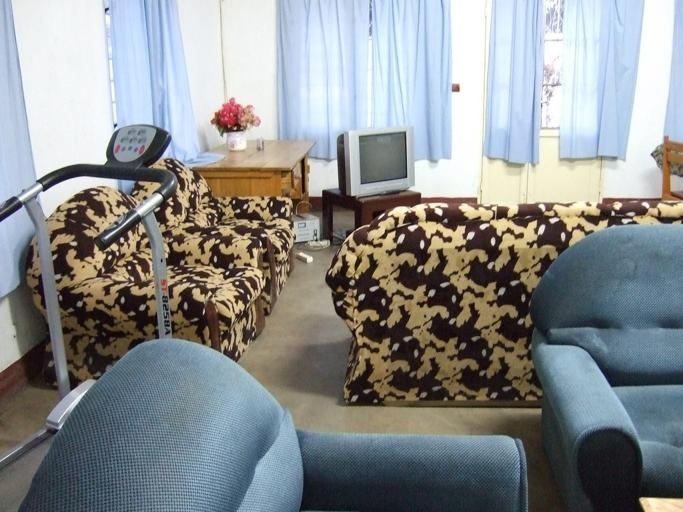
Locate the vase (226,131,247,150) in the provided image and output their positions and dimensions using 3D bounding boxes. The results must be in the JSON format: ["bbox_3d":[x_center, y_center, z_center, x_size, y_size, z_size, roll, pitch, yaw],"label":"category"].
[{"bbox_3d":[-1.007,-1.068,5.247,0.155,0.185,0.173,-1,20,-8],"label":"vase"}]

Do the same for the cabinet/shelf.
[{"bbox_3d":[0.246,-0.499,5.343,0.622,0.547,0.600,-12,19,-36],"label":"cabinet/shelf"}]

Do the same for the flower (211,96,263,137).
[{"bbox_3d":[-0.974,-1.270,5.134,0.369,0.305,0.398,-6,15,-19],"label":"flower"}]

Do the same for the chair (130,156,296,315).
[{"bbox_3d":[-0.837,-0.204,3.865,0.934,1.102,1.128,-1,18,0],"label":"chair"}]

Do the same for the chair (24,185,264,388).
[{"bbox_3d":[-1.081,0.282,3.198,0.976,1.083,1.093,-1,14,-2],"label":"chair"}]
